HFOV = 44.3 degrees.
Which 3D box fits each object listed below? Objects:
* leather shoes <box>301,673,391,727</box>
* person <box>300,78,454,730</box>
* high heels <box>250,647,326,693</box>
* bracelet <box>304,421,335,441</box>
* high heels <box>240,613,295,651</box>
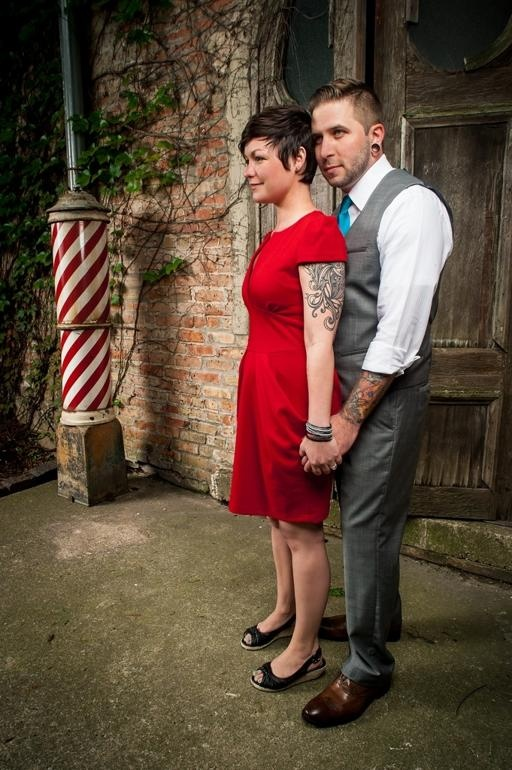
[{"bbox_3d":[0.285,0.967,1.916,0.231,0.099,0.081,-23,37,-11],"label":"leather shoes"},{"bbox_3d":[0.344,0.093,1.829,0.393,1.883,0.372,2,13,15],"label":"person"},{"bbox_3d":[0.111,0.955,2.106,0.279,0.093,0.103,-10,9,-18],"label":"high heels"},{"bbox_3d":[0.173,0.125,1.726,0.056,0.036,0.054,0,3,3],"label":"bracelet"},{"bbox_3d":[0.084,0.894,2.342,0.252,0.093,0.088,-8,5,-28],"label":"high heels"}]
